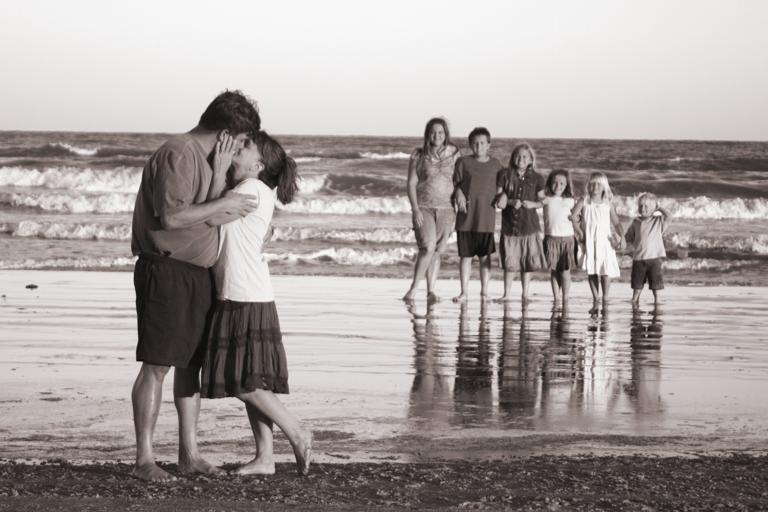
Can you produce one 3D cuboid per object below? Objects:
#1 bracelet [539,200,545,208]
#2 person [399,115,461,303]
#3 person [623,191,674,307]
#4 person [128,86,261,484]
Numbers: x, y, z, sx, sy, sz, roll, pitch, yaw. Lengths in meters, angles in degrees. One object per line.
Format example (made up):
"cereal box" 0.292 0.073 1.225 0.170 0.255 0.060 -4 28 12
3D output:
"bracelet" 2.248 -0.746 14.486 0.108 0.109 0.131 -4 0 0
"person" 0.689 -0.621 14.143 0.768 2.577 0.922 0 4 1
"person" 3.912 -0.115 15.167 0.613 1.615 1.021 1 4 14
"person" -1.412 0.181 7.552 0.868 2.808 0.513 -1 4 -13
